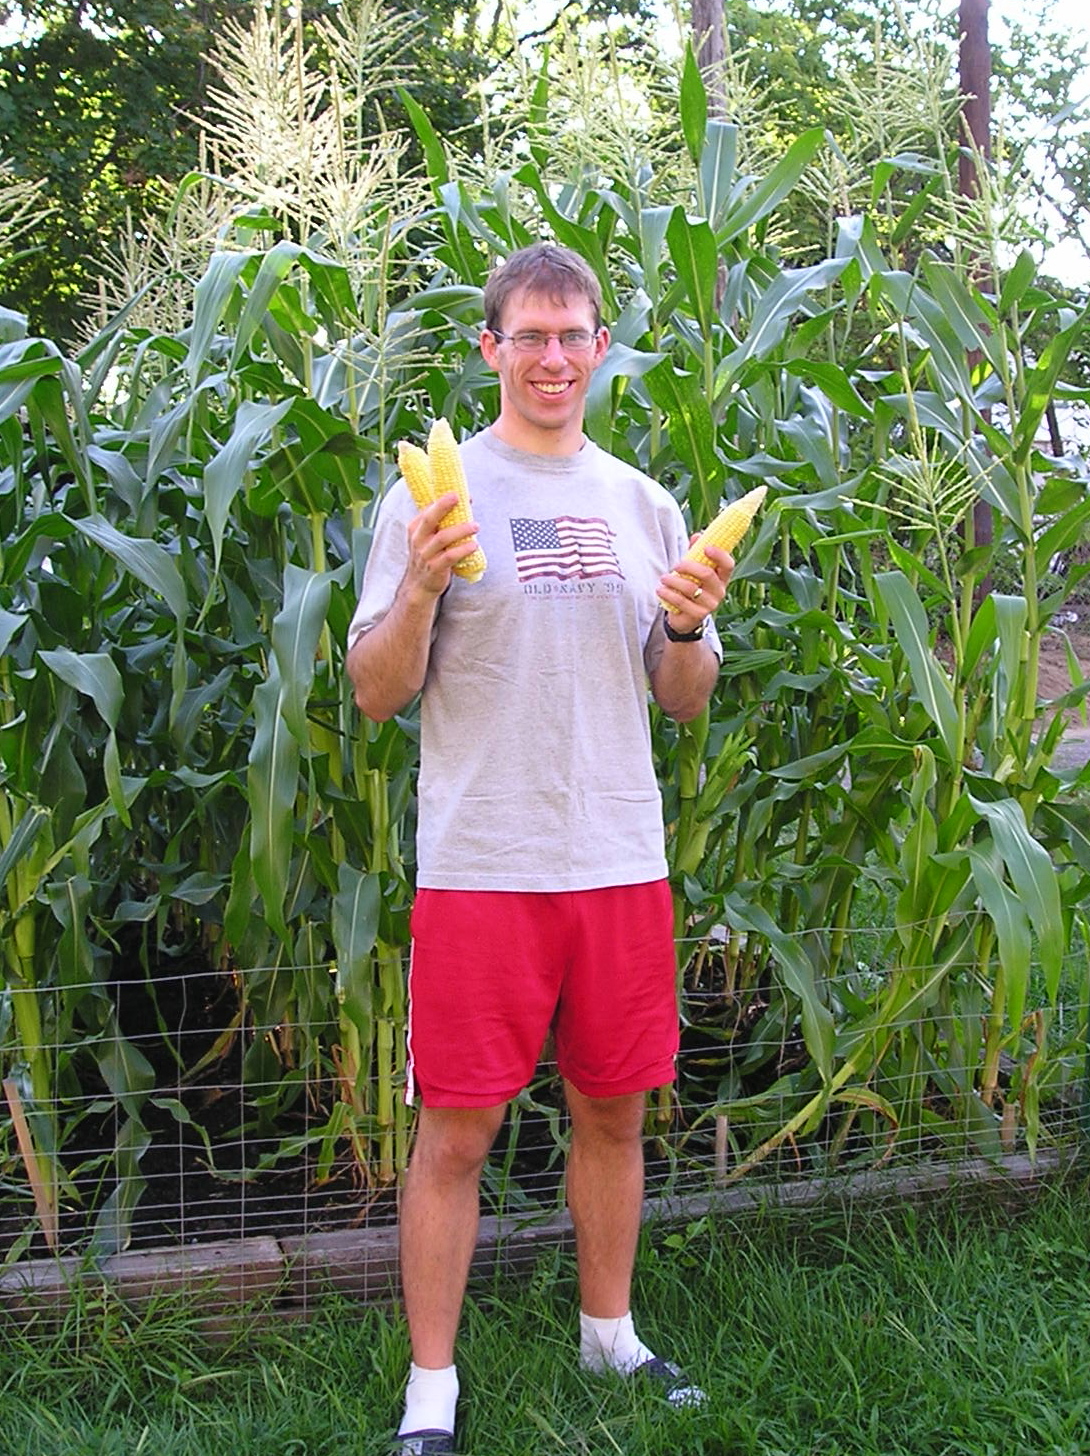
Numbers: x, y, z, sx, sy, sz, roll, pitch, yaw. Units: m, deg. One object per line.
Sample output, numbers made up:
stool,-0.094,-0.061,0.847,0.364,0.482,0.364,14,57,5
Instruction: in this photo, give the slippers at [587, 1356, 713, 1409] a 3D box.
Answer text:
slippers,0.176,1.025,2.033,0.169,0.051,0.062,-4,-13,27

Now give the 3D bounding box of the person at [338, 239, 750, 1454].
person,0.022,0.171,1.954,0.604,1.788,0.401,-2,7,-26

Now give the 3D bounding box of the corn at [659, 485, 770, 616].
corn,0.264,-0.291,1.899,0.066,0.264,0.067,47,3,28

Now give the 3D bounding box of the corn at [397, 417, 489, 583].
corn,-0.140,-0.301,1.710,0.110,0.216,0.111,2,7,-8
